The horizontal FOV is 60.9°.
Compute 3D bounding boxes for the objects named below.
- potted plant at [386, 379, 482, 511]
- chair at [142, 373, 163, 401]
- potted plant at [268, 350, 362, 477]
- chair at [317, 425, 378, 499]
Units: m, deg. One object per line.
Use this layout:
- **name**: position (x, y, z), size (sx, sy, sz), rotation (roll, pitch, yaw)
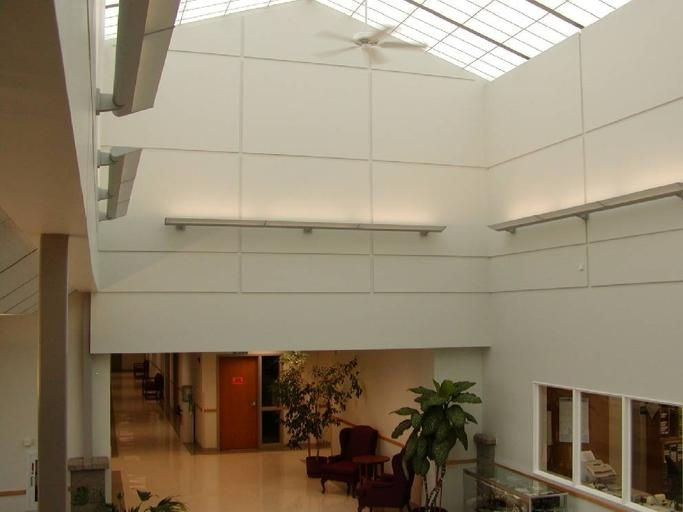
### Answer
- **potted plant**: position (1.734, 3.524, 10.707), size (1.427, 2.481, 1.718), rotation (-1, -12, 8)
- **chair**: position (-8.639, 6.004, 26.613), size (0.853, 1.190, 1.716), rotation (11, -17, -41)
- **potted plant**: position (-0.668, 3.868, 15.572), size (2.613, 3.915, 2.770), rotation (1, 2, 3)
- **chair**: position (0.182, 4.725, 13.490), size (1.176, 1.531, 1.084), rotation (13, -17, -43)
